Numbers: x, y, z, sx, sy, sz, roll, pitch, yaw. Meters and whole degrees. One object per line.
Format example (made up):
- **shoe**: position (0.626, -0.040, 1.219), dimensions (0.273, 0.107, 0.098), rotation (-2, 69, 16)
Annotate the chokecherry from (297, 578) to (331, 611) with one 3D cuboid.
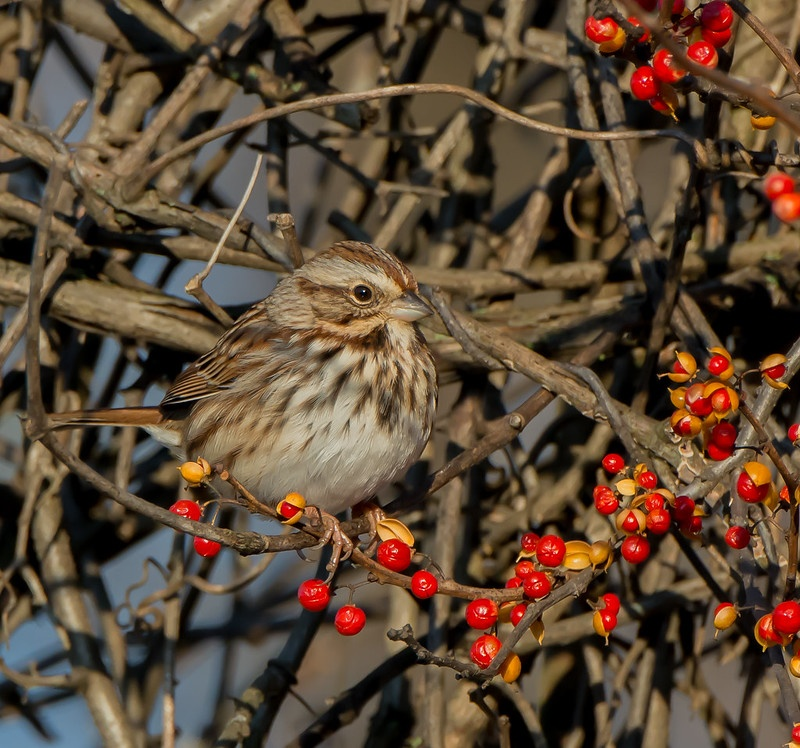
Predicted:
- **chokecherry**: position (-0.240, 0.617, 3.994), dimensions (0.092, 0.089, 0.099), rotation (5, -86, 5)
